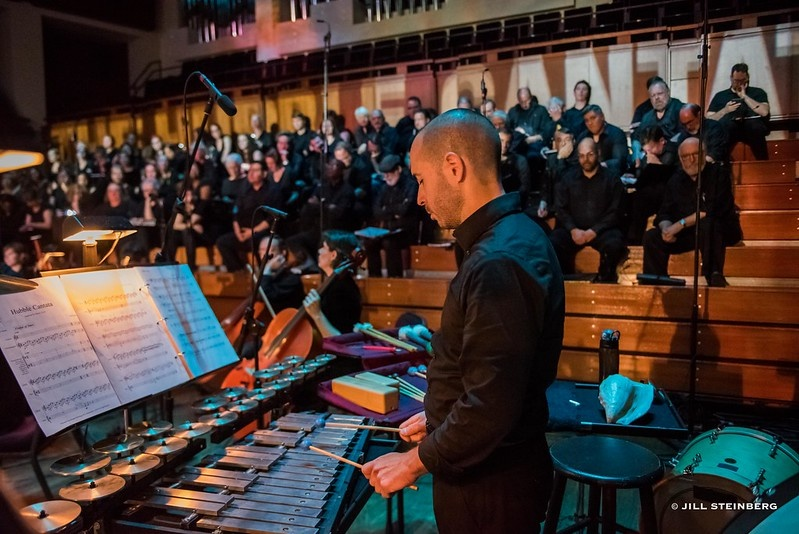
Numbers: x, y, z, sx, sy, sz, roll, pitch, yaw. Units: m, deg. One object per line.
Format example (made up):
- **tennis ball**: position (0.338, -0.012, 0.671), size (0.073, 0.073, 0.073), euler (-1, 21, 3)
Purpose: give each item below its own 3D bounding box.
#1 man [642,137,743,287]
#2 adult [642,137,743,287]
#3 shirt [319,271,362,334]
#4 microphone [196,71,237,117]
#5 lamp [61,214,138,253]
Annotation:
- **man**: position (2.618, -0.515, 5.970), size (0.723, 1.264, 0.629), euler (3, 13, 40)
- **adult**: position (2.618, -0.515, 5.970), size (0.723, 1.264, 0.629), euler (3, 13, 40)
- **shirt**: position (-0.499, 0.316, 5.580), size (0.298, 0.526, 0.484), euler (1, 5, 20)
- **microphone**: position (-1.284, -1.203, 4.713), size (0.202, 0.270, 0.389), euler (-8, 10, -14)
- **lamp**: position (-1.789, -0.226, 3.916), size (0.389, 0.186, 0.318), euler (-14, 13, -43)
